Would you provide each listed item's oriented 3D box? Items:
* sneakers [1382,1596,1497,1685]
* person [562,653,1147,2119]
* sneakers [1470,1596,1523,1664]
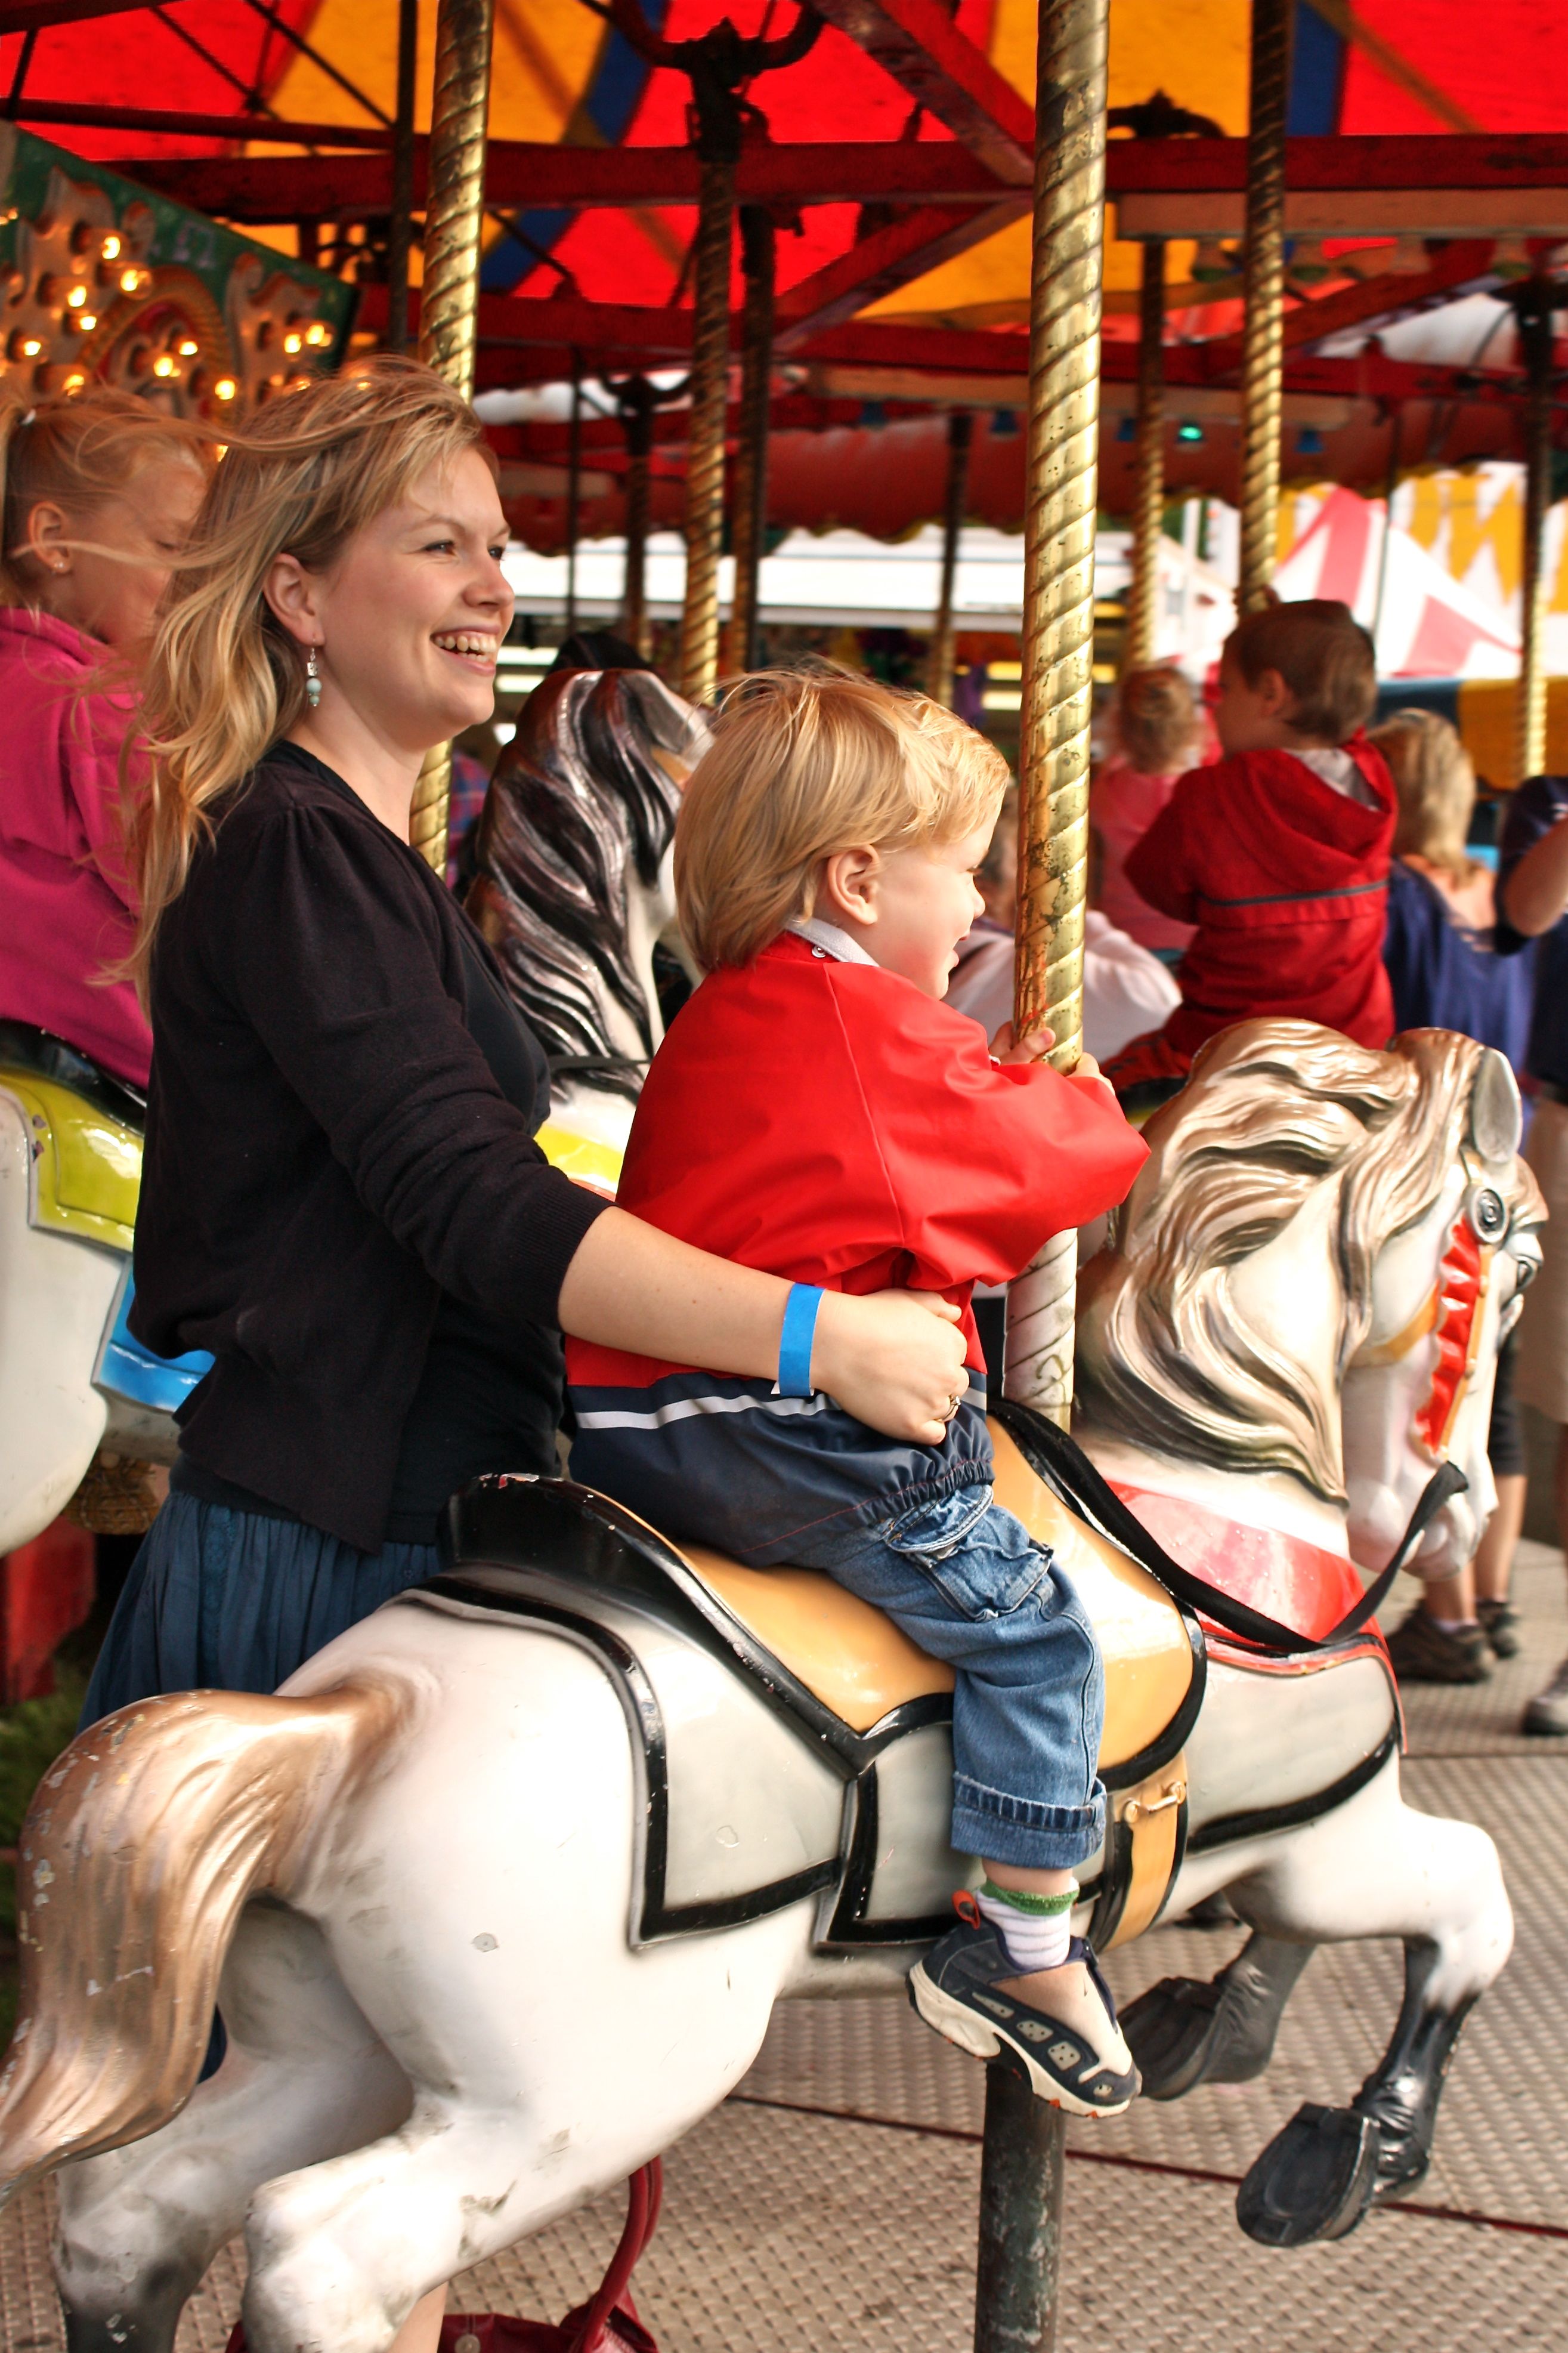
[{"bbox_3d":[1.351,0.961,4.201,0.208,0.171,0.240,3,0,17],"label":"sneakers"},{"bbox_3d":[0.054,0.122,1.269,0.377,0.879,0.220,3,0,-6],"label":"person"},{"bbox_3d":[1.509,0.971,4.343,0.070,0.082,0.189,-1,5,11],"label":"sneakers"}]
